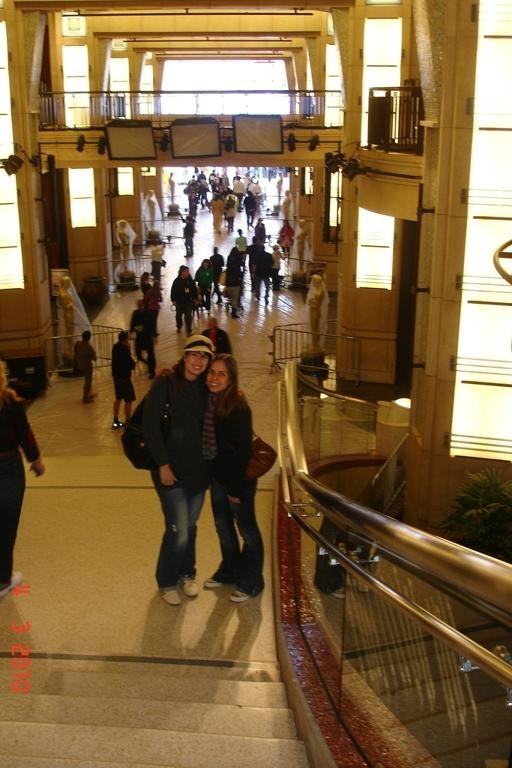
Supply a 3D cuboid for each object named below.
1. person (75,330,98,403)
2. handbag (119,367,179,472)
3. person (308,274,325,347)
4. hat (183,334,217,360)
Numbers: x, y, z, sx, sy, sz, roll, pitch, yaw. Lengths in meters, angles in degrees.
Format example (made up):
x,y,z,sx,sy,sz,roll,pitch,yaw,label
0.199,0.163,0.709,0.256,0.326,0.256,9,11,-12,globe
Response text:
x,y,z,sx,sy,sz,roll,pitch,yaw,label
-3.689,-0.342,12.467,0.385,1.571,1.681,0,3,-16,person
-0.753,0.256,3.844,0.266,0.690,0.407,-2,3,-38,handbag
1.536,-1.827,14.732,0.502,1.918,1.169,1,2,6,person
-0.344,-0.242,3.839,0.174,0.150,0.396,1,3,16,hat
